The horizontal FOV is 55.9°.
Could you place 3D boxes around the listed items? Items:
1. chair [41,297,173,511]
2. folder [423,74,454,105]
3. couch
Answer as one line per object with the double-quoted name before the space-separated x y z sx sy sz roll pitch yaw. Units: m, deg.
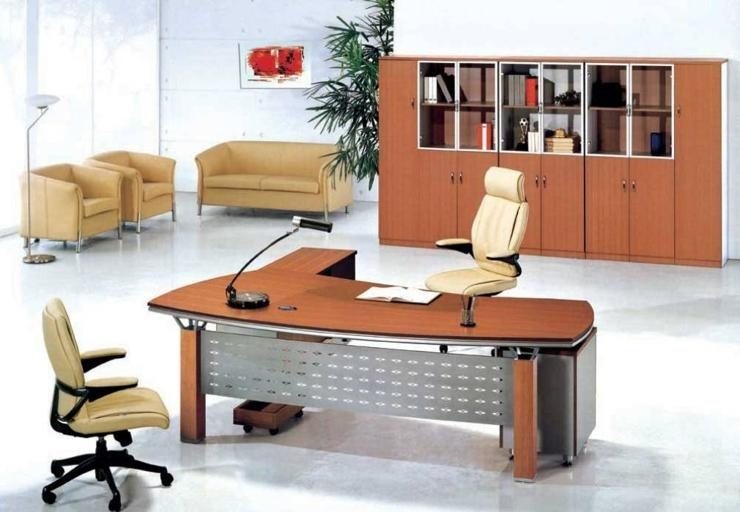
"chair" -1.583 0.868 4.214 0.744 1.181 0.621 -1 12 -17
"folder" 0.889 -2.184 9.404 0.395 0.479 0.521 -1 10 13
"couch" -1.597 -1.273 11.532 2.383 1.227 0.902 5 11 16
